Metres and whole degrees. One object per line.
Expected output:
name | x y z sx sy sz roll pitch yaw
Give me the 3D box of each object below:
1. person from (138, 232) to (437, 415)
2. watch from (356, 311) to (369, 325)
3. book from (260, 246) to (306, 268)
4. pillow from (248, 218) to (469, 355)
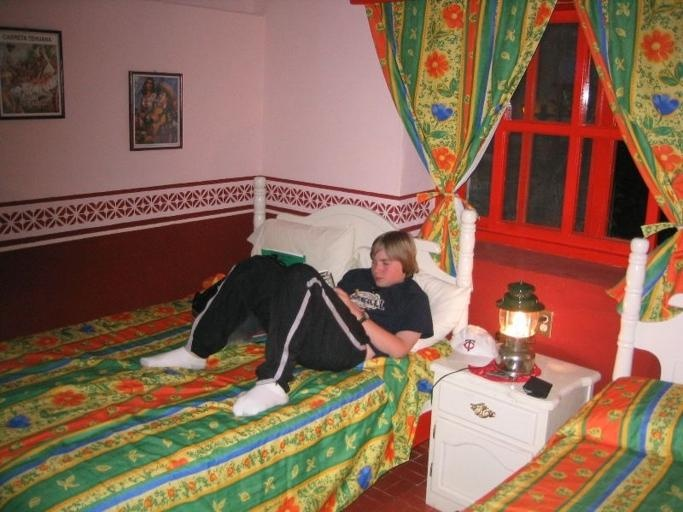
person | -0.189 0.265 2.761 1.398 0.792 0.985 4 3 -44
watch | 0.113 0.319 2.684 0.056 0.016 0.055 16 46 28
book | -0.368 0.007 3.217 0.172 0.042 0.168 11 8 23
pillow | 0.114 -0.053 3.140 1.186 0.589 0.732 25 36 32
